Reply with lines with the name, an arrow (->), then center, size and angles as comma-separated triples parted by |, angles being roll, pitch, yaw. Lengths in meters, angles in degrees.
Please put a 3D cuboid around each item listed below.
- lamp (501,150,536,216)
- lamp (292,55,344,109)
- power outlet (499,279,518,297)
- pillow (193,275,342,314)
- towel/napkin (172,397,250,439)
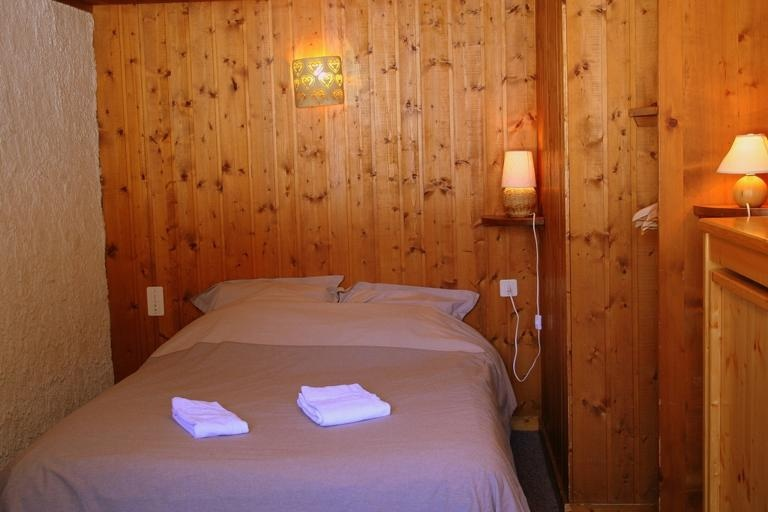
lamp -> 0.854, -0.455, 3.757 | 0.211, 0.408, 0.146 | 3, 15, 14
lamp -> -0.447, -1.147, 3.910 | 0.333, 0.250, 0.326 | -4, 4, -21
power outlet -> 0.831, 0.217, 3.972 | 0.114, 0.108, 0.027 | 3, -4, 4
pillow -> -0.801, 0.211, 3.974 | 0.604, 0.162, 0.405 | 1, 8, 0
towel/napkin -> -0.773, 0.699, 2.556 | 0.409, 0.065, 0.194 | 14, 20, 43
